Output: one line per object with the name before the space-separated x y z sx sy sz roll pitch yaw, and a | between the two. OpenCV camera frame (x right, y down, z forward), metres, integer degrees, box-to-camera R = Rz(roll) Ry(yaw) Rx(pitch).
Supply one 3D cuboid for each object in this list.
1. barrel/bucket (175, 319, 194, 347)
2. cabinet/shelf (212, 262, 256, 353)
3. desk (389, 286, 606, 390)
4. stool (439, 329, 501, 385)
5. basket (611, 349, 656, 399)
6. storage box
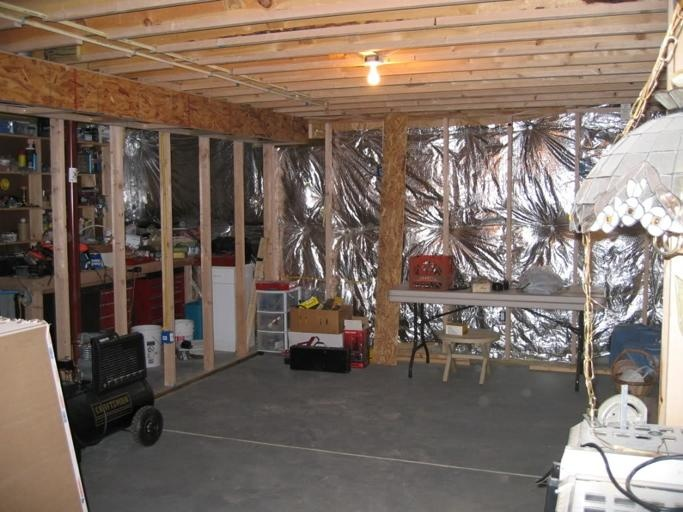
barrel/bucket | -2.093 1.014 7.421 0.235 0.328 0.316 -2 7 -16
cabinet/shelf | -1.493 0.710 7.636 0.498 1.179 0.639 1 7 14
desk | 1.763 0.917 6.577 2.401 1.018 0.770 0 5 30
stool | 1.483 1.189 6.564 0.712 0.501 0.695 1 0 2
basket | 2.775 1.145 5.308 0.430 0.466 0.427 3 2 -12
storage box | -0.147 0.993 7.147 0.911 0.628 0.895 1 0 10
